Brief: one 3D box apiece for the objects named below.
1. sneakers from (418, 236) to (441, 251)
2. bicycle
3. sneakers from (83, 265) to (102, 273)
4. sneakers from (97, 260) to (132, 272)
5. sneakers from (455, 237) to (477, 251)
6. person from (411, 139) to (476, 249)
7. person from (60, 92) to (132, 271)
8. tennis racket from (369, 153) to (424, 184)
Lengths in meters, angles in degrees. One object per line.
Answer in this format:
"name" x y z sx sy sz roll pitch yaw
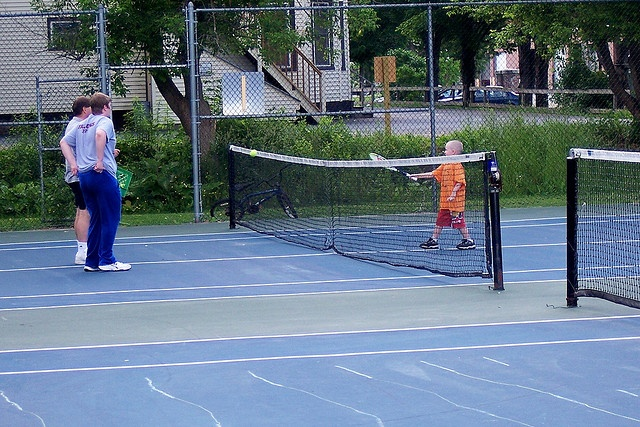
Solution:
"sneakers" 1.885 0.516 16.032 0.419 0.227 0.138 3 -1 16
"bicycle" -1.228 -0.302 18.581 1.844 0.975 0.870 -3 13 -7
"sneakers" -3.740 0.913 15.399 0.274 0.105 0.090 0 1 -12
"sneakers" -3.348 0.864 15.354 0.527 0.194 0.170 -2 -2 -11
"sneakers" 2.474 0.509 15.681 0.413 0.166 0.135 1 2 27
"person" 2.134 -0.321 15.994 1.005 1.800 1.226 -1 8 5
"person" -3.660 -0.488 15.169 0.817 2.899 0.510 2 9 24
"tennis racket" 1.345 -0.845 17.177 1.323 0.334 0.098 23 41 -17
